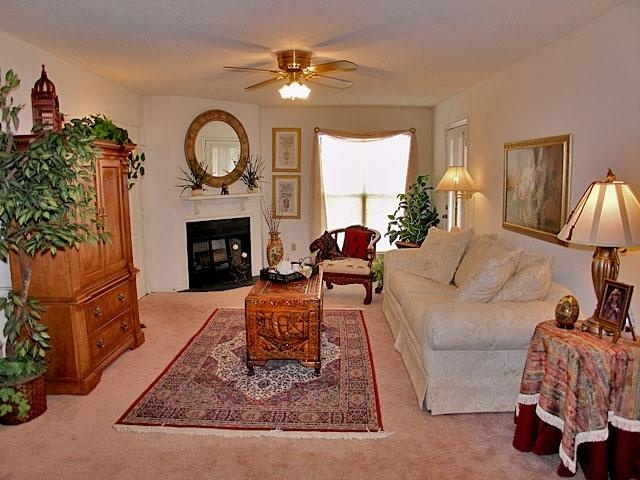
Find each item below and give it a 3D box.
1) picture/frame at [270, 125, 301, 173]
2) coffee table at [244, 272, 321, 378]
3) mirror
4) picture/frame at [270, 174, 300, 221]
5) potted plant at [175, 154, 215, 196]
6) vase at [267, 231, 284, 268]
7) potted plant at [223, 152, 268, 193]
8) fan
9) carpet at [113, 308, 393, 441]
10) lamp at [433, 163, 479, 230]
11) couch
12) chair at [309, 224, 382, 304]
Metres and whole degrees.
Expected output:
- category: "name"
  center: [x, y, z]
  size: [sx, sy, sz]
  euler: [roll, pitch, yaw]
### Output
- category: "picture/frame"
  center: [-0.608, -1.607, 7.456]
  size: [0.670, 1.045, 0.040]
  euler: [0, 5, -5]
- category: "coffee table"
  center: [-0.210, 0.855, 4.477]
  size: [0.762, 0.719, 1.329]
  euler: [-1, -1, 10]
- category: "mirror"
  center: [-1.666, -1.448, 6.753]
  size: [1.253, 1.477, 0.069]
  euler: [-3, 8, -43]
- category: "picture/frame"
  center: [-0.616, -0.776, 7.573]
  size: [0.725, 1.130, 0.040]
  euler: [0, 7, -1]
- category: "potted plant"
  center: [-1.872, -0.932, 6.710]
  size: [0.506, 0.581, 0.530]
  euler: [2, -7, 15]
- category: "vase"
  center: [-0.654, 0.146, 6.234]
  size: [0.208, 0.500, 0.429]
  euler: [-2, 12, -8]
- category: "potted plant"
  center: [-1.196, -1.040, 7.241]
  size: [0.421, 0.543, 0.475]
  euler: [-6, -8, -22]
- category: "fan"
  center: [-0.238, -1.735, 4.725]
  size: [1.113, 0.438, 1.591]
  euler: [0, 12, 0]
- category: "carpet"
  center: [-0.513, 1.225, 4.257]
  size: [2.499, 0.020, 2.771]
  euler: [1, 8, -21]
- category: "lamp"
  center: [1.829, -0.537, 5.760]
  size: [0.497, 0.888, 0.997]
  euler: [4, 13, 19]
- category: "couch"
  center: [1.377, 0.594, 4.391]
  size: [1.142, 1.306, 2.323]
  euler: [3, 10, 0]
- category: "chair"
  center: [0.392, 0.335, 6.318]
  size: [0.922, 1.092, 0.842]
  euler: [4, 4, 20]
